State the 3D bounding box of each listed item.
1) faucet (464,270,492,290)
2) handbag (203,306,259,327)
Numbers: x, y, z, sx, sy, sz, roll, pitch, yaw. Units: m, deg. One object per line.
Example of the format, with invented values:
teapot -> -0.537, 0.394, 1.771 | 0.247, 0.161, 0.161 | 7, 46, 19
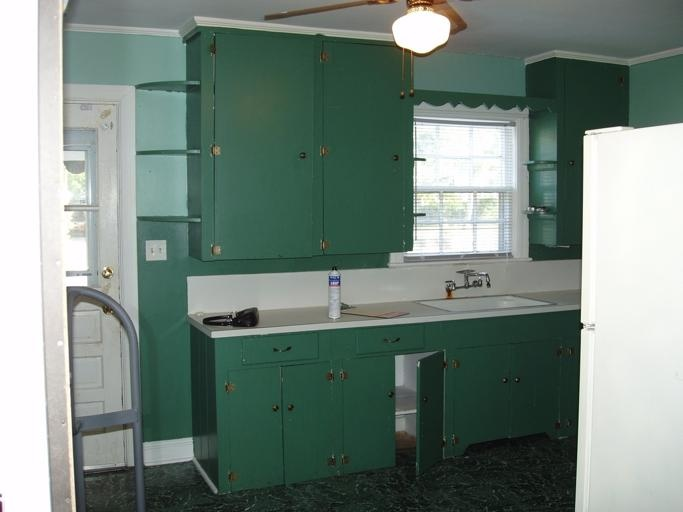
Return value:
faucet -> 0.953, 0.154, 4.121 | 0.109, 0.128, 0.220 | 1, -4, -36
handbag -> -0.602, 0.356, 3.370 | 0.197, 0.073, 0.148 | -2, 5, -16
